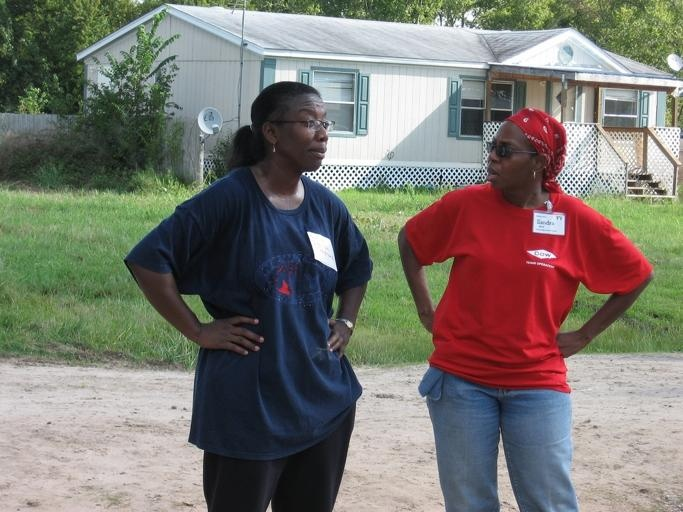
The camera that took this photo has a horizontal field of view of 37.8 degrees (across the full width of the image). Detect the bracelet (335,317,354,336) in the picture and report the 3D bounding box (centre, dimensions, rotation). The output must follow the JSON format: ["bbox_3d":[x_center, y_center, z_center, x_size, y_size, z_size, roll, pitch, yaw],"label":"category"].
[{"bbox_3d":[0.012,0.488,7.056,0.113,0.047,0.102,36,-8,39],"label":"bracelet"}]
